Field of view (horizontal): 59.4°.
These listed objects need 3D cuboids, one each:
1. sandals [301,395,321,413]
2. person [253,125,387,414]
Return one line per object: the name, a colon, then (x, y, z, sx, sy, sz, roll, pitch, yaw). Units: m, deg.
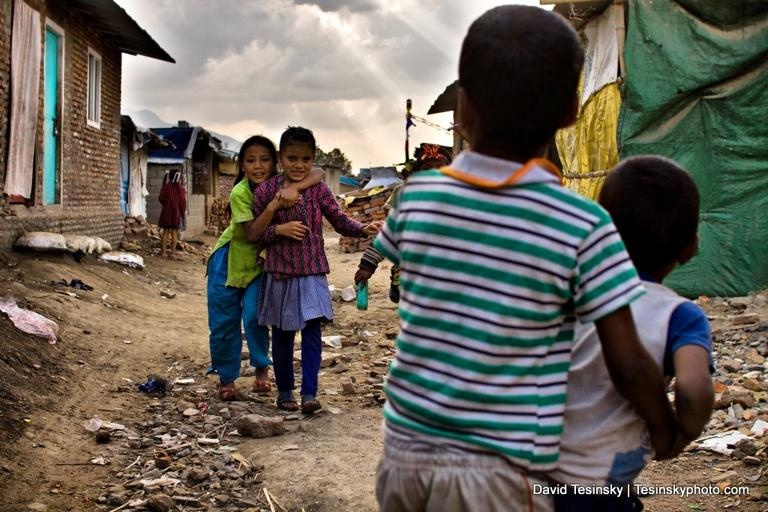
sandals: (-0.590, 1.201, 5.457, 0.100, 0.090, 0.207, 2, -12, -25)
person: (-0.668, 0.134, 5.510, 0.855, 2.331, 0.786, 3, 0, -11)
